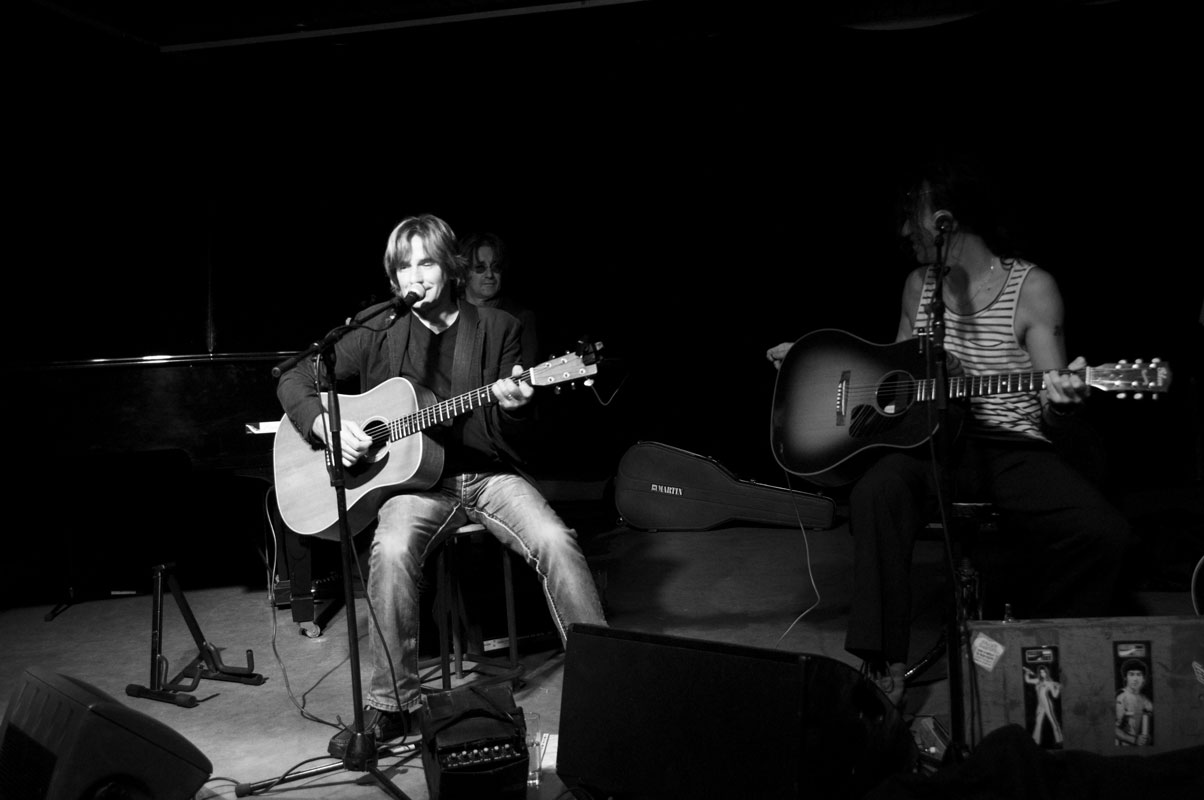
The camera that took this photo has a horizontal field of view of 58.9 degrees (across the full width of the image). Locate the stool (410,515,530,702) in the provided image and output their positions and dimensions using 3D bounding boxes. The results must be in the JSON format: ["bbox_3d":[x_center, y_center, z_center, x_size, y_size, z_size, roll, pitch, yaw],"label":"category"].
[{"bbox_3d":[-0.679,0.957,5.159,0.702,0.965,0.659,-2,3,-19],"label":"stool"}]

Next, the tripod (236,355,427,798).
[{"bbox_3d":[-1.147,0.696,4.582,0.724,1.844,0.273,-9,-10,22],"label":"tripod"}]

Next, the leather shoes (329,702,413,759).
[{"bbox_3d":[-0.984,1.391,4.430,0.272,0.183,0.405,-4,-5,23],"label":"leather shoes"}]

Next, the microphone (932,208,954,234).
[{"bbox_3d":[1.414,-0.734,4.386,0.110,0.105,0.049,2,-6,-35],"label":"microphone"}]

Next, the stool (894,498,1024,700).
[{"bbox_3d":[1.577,0.781,4.578,0.473,0.200,0.822,-22,19,6],"label":"stool"}]

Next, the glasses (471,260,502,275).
[{"bbox_3d":[-0.692,-0.786,6.363,0.120,0.079,0.119,-4,6,-17],"label":"glasses"}]
